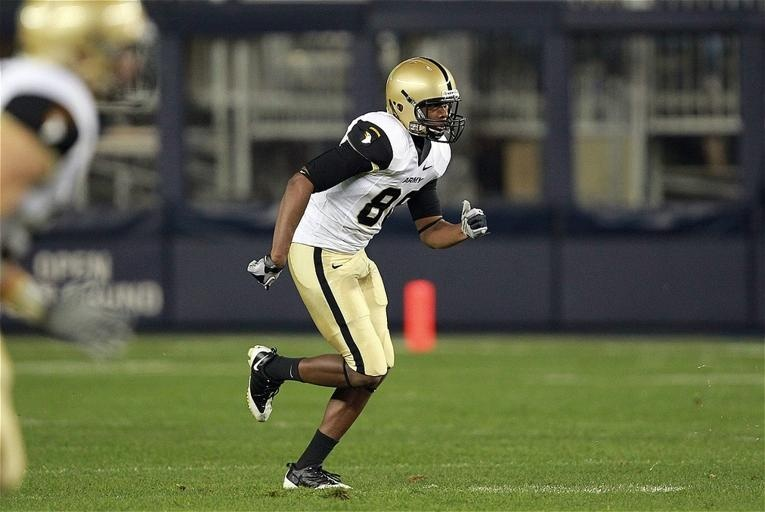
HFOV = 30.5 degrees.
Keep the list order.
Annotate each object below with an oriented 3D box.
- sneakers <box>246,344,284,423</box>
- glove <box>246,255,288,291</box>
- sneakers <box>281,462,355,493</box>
[{"bbox_3d":[-0.921,0.979,10.627,0.285,0.610,0.227,8,13,28],"label":"sneakers"},{"bbox_3d":[-0.980,0.159,12.071,0.355,0.234,0.211,38,34,20],"label":"glove"},{"bbox_3d":[-0.474,1.656,10.462,0.534,0.205,0.194,4,-5,0],"label":"sneakers"}]
